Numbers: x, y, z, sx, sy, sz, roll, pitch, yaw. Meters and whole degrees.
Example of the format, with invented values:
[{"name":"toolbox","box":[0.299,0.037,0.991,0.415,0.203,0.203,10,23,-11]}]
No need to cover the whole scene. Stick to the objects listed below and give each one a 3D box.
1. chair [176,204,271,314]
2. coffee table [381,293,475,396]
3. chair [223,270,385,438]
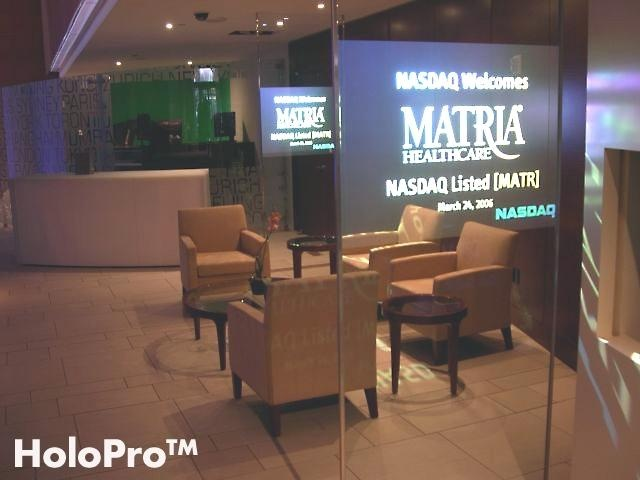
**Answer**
[{"name":"chair","box":[-0.931,0.212,4.748,0.728,1.030,0.696,-6,9,-30]},{"name":"coffee table","box":[0.520,0.550,2.536,0.418,0.490,0.414,-8,6,-44]},{"name":"chair","box":[-0.044,0.467,2.865,0.841,0.866,0.897,9,21,27]}]
